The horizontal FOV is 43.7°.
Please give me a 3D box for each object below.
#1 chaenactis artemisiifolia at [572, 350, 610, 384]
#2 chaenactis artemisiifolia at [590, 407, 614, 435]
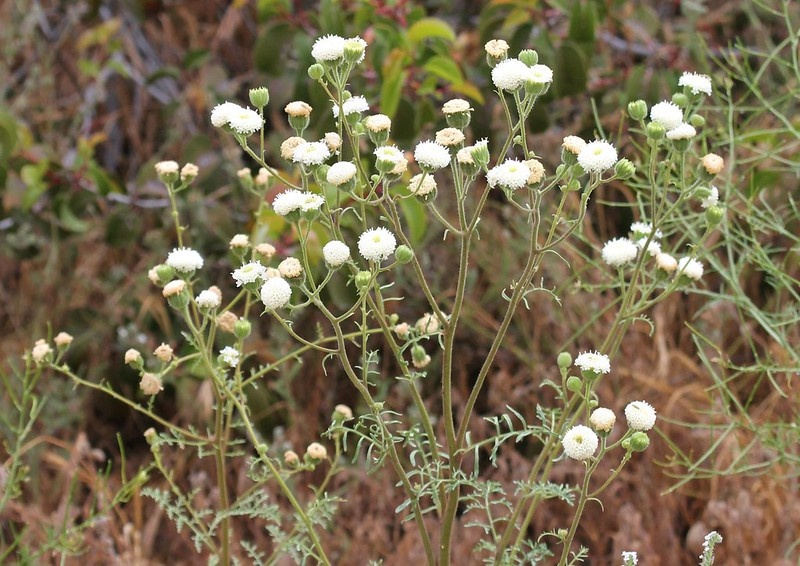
[{"bbox_3d":[0.350,0.157,1.842,0.048,0.056,0.066,13,104,15],"label":"chaenactis artemisiifolia"},{"bbox_3d":[0.366,0.245,1.813,0.032,0.039,0.048,-3,86,4],"label":"chaenactis artemisiifolia"}]
